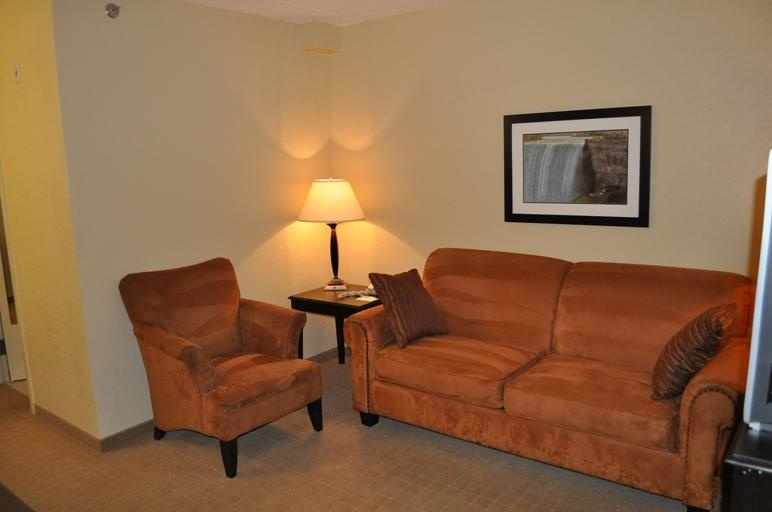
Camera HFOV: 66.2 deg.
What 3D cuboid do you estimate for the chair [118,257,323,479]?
[{"bbox_3d":[-1.199,0.693,4.335,1.241,1.196,1.084,7,12,37],"label":"chair"}]

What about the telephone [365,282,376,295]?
[{"bbox_3d":[-0.118,0.270,5.110,0.098,0.121,0.093,0,1,43],"label":"telephone"}]

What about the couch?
[{"bbox_3d":[1.130,0.706,4.107,2.307,1.251,1.062,8,12,31],"label":"couch"}]

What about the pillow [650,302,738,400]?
[{"bbox_3d":[1.835,0.573,3.549,0.399,0.591,0.231,6,12,21],"label":"pillow"}]

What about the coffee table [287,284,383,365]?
[{"bbox_3d":[-0.403,0.482,5.083,0.690,0.561,0.559,3,7,39],"label":"coffee table"}]

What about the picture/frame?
[{"bbox_3d":[1.498,-0.712,4.501,0.981,0.814,0.039,1,6,30],"label":"picture/frame"}]
